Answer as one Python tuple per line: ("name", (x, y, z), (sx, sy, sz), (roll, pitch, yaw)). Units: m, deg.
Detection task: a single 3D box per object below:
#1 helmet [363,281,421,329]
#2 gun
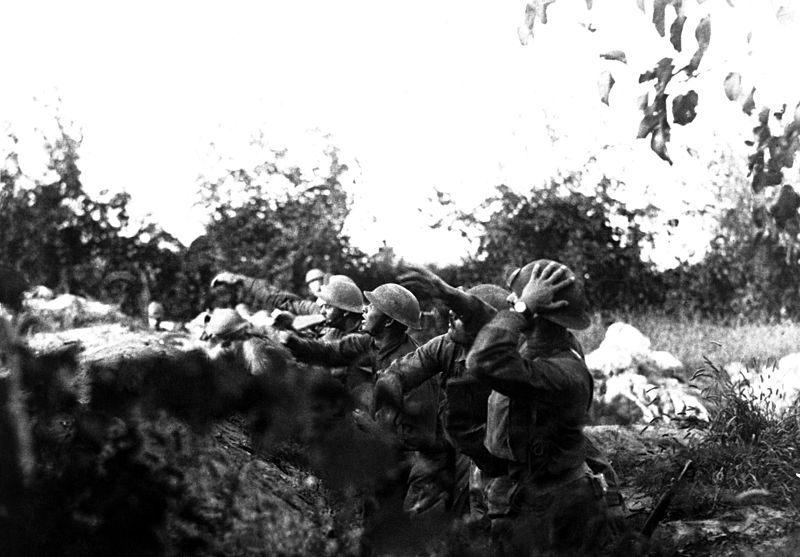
("helmet", (-0.077, 0.319, 10.337), (0.488, 0.216, 0.396), (30, 18, -8))
("gun", (2.541, 2.219, 9.921), (0.104, 0.870, 0.108), (27, -4, 22))
